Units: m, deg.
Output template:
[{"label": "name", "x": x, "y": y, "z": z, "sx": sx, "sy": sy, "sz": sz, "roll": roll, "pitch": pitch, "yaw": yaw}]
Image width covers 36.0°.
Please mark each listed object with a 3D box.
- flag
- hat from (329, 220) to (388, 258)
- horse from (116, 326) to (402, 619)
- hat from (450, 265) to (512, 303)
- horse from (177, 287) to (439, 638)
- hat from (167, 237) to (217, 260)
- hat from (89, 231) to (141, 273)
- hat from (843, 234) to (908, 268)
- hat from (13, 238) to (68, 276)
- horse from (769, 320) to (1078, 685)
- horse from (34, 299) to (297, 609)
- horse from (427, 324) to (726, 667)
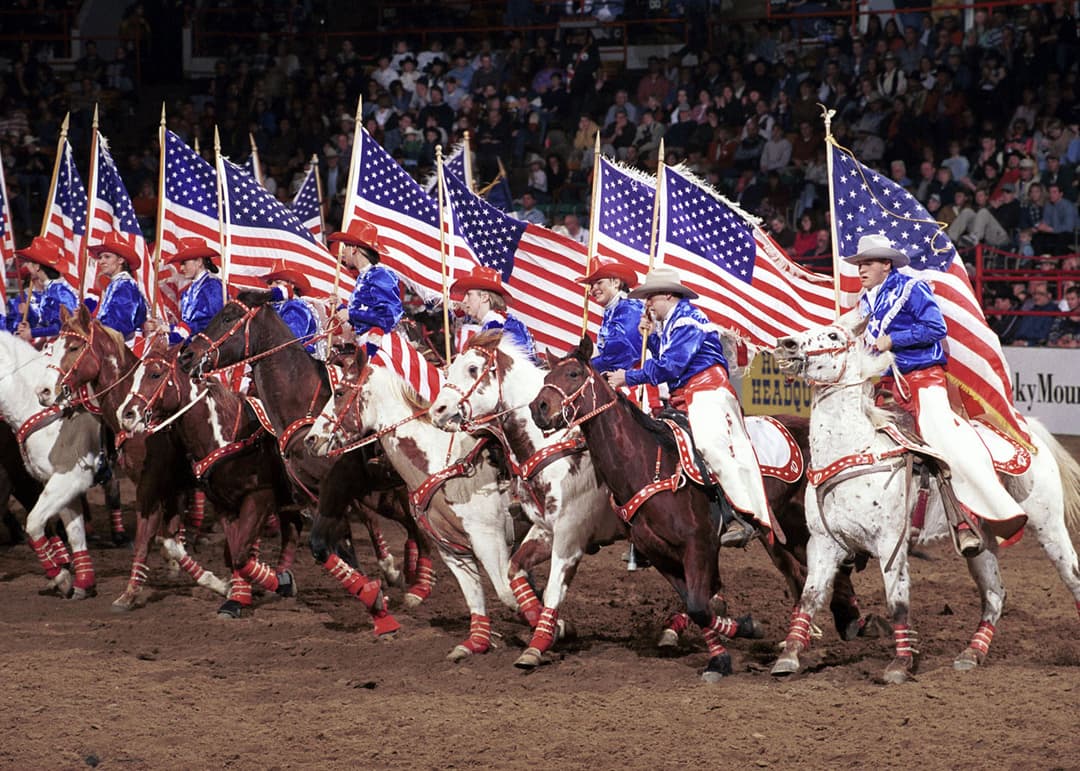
[{"label": "flag", "x": 3.909, "y": -1.071, "z": 17.380, "sx": 1.318, "sy": 4.309, "sz": 0.801, "roll": -23, "pitch": -13, "yaw": 7}, {"label": "hat", "x": -2.057, "y": -1.724, "z": 19.239, "sx": 0.450, "sy": 0.201, "sz": 0.532, "roll": 19, "pitch": -1, "yaw": 24}, {"label": "horse", "x": -3.426, "y": 1.165, "z": 18.708, "sx": 1.153, "sy": 3.065, "sz": 3.870, "roll": -9, "pitch": -11, "yaw": 17}, {"label": "hat", "x": -0.668, "y": -1.142, "z": 18.195, "sx": 0.508, "sy": 0.181, "sz": 0.416, "roll": 3, "pitch": -24, "yaw": 11}, {"label": "horse", "x": -2.225, "y": 0.773, "z": 18.615, "sx": 1.275, "sy": 3.379, "sz": 4.446, "roll": -9, "pitch": -12, "yaw": 31}, {"label": "hat", "x": -4.182, "y": -1.641, "z": 20.052, "sx": 0.420, "sy": 0.163, "sz": 0.440, "roll": -1, "pitch": -4, "yaw": -25}, {"label": "hat", "x": -4.908, "y": -1.687, "z": 19.809, "sx": 0.532, "sy": 0.219, "sz": 0.600, "roll": 2, "pitch": -19, "yaw": 20}, {"label": "hat", "x": 3.304, "y": -1.368, "z": 16.653, "sx": 0.378, "sy": 0.154, "sz": 0.422, "roll": 7, "pitch": -15, "yaw": -27}, {"label": "hat", "x": -6.336, "y": -1.702, "z": 21.100, "sx": 0.625, "sy": 0.238, "sz": 0.547, "roll": 29, "pitch": 17, "yaw": 17}, {"label": "horse", "x": 4.035, "y": 0.961, "z": 17.059, "sx": 4.073, "sy": 3.519, "sz": 2.809, "roll": -3, "pitch": 14, "yaw": -10}, {"label": "horse", "x": -3.764, "y": 0.893, "z": 18.651, "sx": 4.201, "sy": 2.926, "sz": 1.082, "roll": 16, "pitch": 20, "yaw": 20}, {"label": "horse", "x": 0.424, "y": 1.459, "z": 17.555, "sx": 1.348, "sy": 3.292, "sz": 5.048, "roll": -9, "pitch": -19, "yaw": 31}]
